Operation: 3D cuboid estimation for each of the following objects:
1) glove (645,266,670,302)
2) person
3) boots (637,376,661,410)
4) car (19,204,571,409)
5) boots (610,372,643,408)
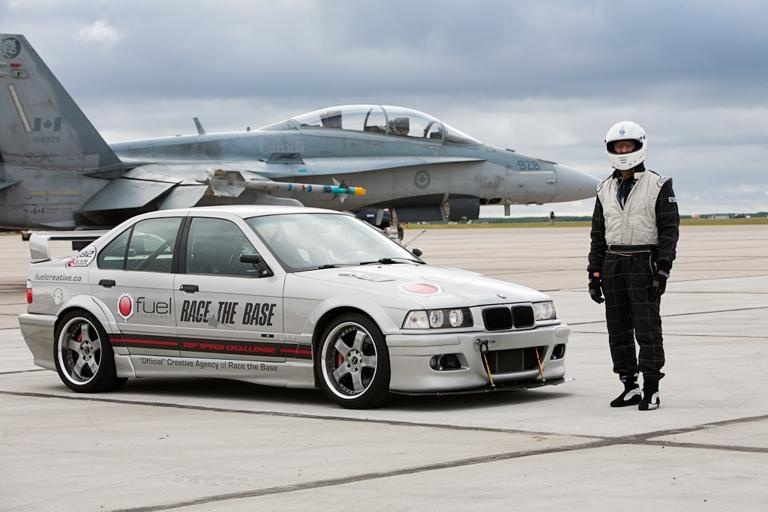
[{"bbox_3d":[2.507,0.266,7.203,0.140,0.292,0.240,34,5,7],"label":"glove"},{"bbox_3d":[2.326,0.063,7.355,0.731,2.645,0.928,-6,7,-25],"label":"person"},{"bbox_3d":[2.408,1.243,7.124,0.192,0.285,0.290,-1,5,17],"label":"boots"},{"bbox_3d":[-1.043,0.468,8.225,5.290,1.984,1.373,0,6,22],"label":"car"},{"bbox_3d":[2.258,1.255,7.309,0.267,0.269,0.366,0,5,18],"label":"boots"}]
